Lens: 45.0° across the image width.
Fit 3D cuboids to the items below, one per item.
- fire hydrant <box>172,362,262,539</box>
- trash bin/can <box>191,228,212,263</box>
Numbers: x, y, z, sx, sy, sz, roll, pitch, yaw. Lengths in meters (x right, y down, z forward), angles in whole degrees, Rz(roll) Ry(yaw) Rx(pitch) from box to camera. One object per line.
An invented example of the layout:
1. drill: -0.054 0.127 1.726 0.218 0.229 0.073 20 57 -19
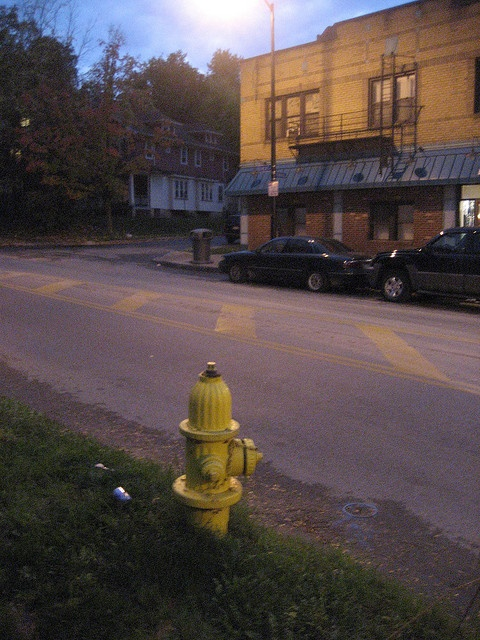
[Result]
1. fire hydrant: -0.130 0.624 2.797 0.389 0.911 0.327 5 9 25
2. trash bin/can: -1.452 -2.793 21.897 1.025 1.717 1.070 0 1 -12
